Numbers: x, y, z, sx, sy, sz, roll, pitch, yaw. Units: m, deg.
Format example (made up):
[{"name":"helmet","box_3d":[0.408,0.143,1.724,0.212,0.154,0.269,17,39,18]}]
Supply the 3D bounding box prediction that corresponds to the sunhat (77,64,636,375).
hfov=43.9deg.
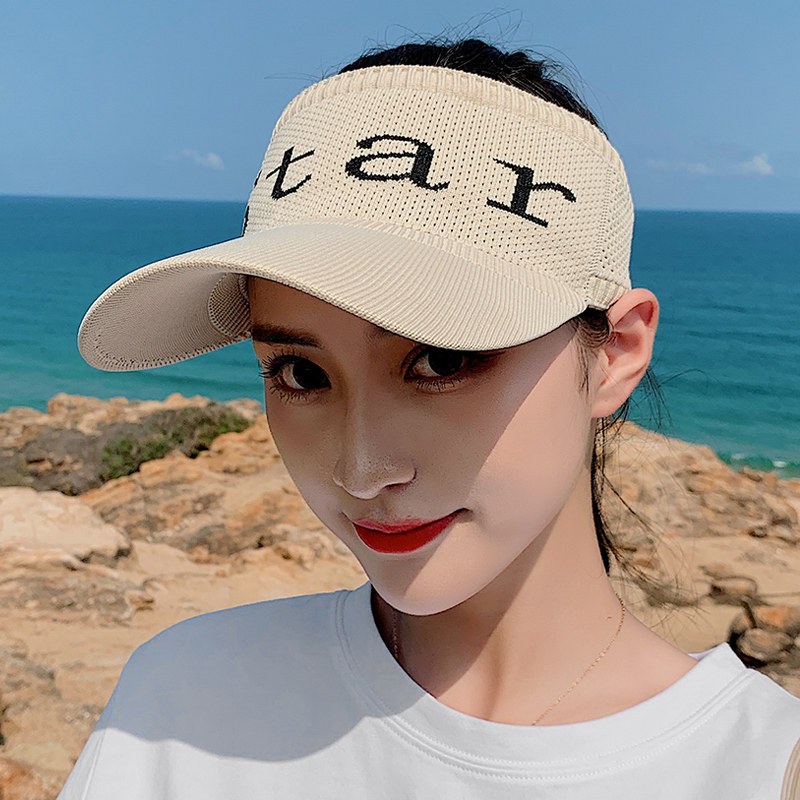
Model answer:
[{"name":"sunhat","box_3d":[0.040,-0.369,2.276,0.932,0.676,1.234,1,-6,37]}]
